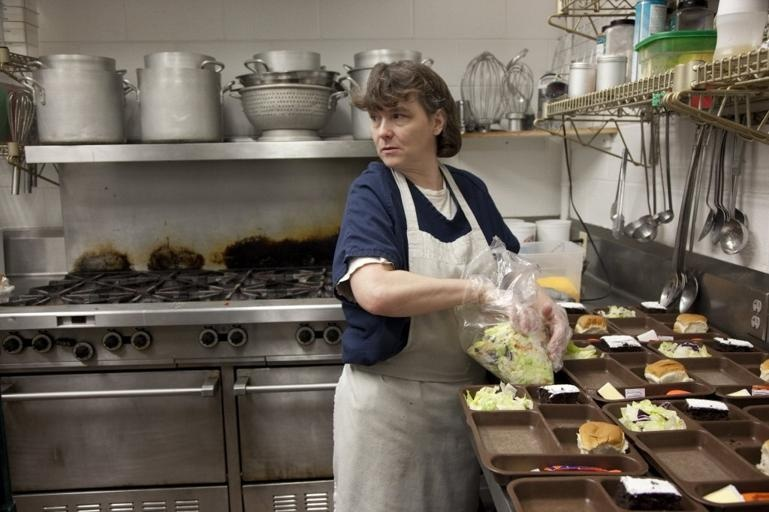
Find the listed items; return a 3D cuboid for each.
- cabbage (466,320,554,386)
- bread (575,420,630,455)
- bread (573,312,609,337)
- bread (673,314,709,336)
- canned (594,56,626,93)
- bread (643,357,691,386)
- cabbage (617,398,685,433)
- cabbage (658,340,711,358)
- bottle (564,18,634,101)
[{"bbox_3d":[0.394,0.315,1.979,0.080,0.187,0.221,-45,8,-25],"label":"cabbage"},{"bbox_3d":[0.590,0.500,1.719,0.132,0.064,0.086,1,14,16],"label":"bread"},{"bbox_3d":[0.741,0.244,2.265,0.141,0.057,0.109,-3,14,0],"label":"bread"},{"bbox_3d":[1.074,0.238,2.235,0.084,0.041,0.087,0,4,3],"label":"bread"},{"bbox_3d":[0.805,-0.657,2.258,0.103,0.128,0.165,1,15,18],"label":"canned"},{"bbox_3d":[0.877,0.358,1.963,0.134,0.062,0.121,-2,14,5],"label":"bread"},{"bbox_3d":[0.752,0.452,1.785,0.170,0.049,0.107,-1,14,8],"label":"cabbage"},{"bbox_3d":[0.979,0.307,2.083,0.155,0.030,0.130,4,15,27],"label":"cabbage"},{"bbox_3d":[0.793,-0.694,2.346,0.209,0.331,0.230,0,13,0],"label":"bottle"}]
